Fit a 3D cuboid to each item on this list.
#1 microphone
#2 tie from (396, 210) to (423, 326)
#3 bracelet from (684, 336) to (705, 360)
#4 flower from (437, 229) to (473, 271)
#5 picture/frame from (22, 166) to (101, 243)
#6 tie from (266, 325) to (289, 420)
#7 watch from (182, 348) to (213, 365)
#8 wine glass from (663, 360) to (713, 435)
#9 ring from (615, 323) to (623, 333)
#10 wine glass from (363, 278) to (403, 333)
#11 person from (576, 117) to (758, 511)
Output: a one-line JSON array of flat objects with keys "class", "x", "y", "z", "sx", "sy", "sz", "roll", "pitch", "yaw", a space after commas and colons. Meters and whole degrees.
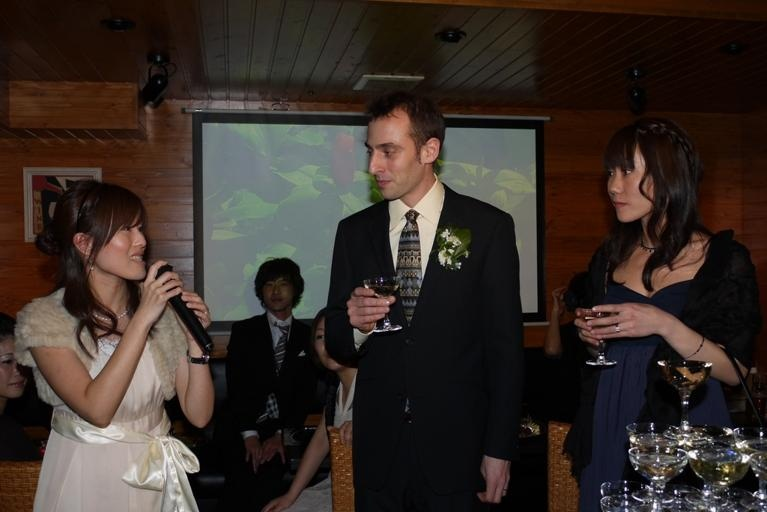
[{"class": "microphone", "x": -0.862, "y": 0.259, "z": 2.683, "sx": 0.160, "sy": 0.575, "sz": 0.156, "roll": -45, "pitch": -10, "yaw": 12}, {"class": "tie", "x": 0.128, "y": 0.031, "z": 2.667, "sx": 0.114, "sy": 0.503, "sz": 0.052, "roll": 0, "pitch": -2, "yaw": 34}, {"class": "bracelet", "x": 1.292, "y": 0.380, "z": 2.400, "sx": 0.088, "sy": 0.089, "sz": 0.022, "roll": 2, "pitch": -2, "yaw": -12}, {"class": "flower", "x": 0.305, "y": -0.033, "z": 2.583, "sx": 0.186, "sy": 0.173, "sz": 0.050, "roll": 28, "pitch": -8, "yaw": -8}, {"class": "picture/frame", "x": -3.136, "y": -0.508, "z": 5.637, "sx": 0.713, "sy": 0.694, "sz": 0.035, "roll": 0, "pitch": -1, "yaw": 8}, {"class": "tie", "x": -0.926, "y": 1.010, "z": 5.138, "sx": 0.143, "sy": 0.634, "sz": 0.186, "roll": 4, "pitch": 11, "yaw": -7}, {"class": "watch", "x": -0.875, "y": 0.479, "z": 2.773, "sx": 0.105, "sy": 0.041, "sz": 0.099, "roll": 1, "pitch": -3, "yaw": 3}, {"class": "wine glass", "x": 1.118, "y": 0.508, "z": 2.189, "sx": 0.158, "sy": 0.269, "sz": 0.161, "roll": 7, "pitch": 7, "yaw": 23}, {"class": "ring", "x": 0.977, "y": 0.298, "z": 2.416, "sx": 0.022, "sy": 0.030, "sz": 0.010, "roll": 0, "pitch": -2, "yaw": 36}, {"class": "wine glass", "x": -0.008, "y": 0.216, "z": 2.597, "sx": 0.185, "sy": 0.239, "sz": 0.183, "roll": 0, "pitch": -3, "yaw": -7}, {"class": "person", "x": 1.223, "y": 0.208, "z": 2.725, "sx": 0.728, "sy": 2.048, "sz": 0.918, "roll": 0, "pitch": -1, "yaw": -19}]
